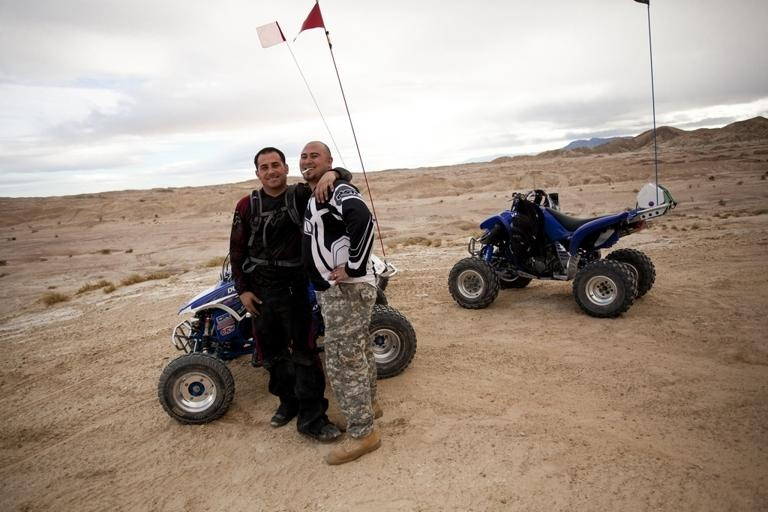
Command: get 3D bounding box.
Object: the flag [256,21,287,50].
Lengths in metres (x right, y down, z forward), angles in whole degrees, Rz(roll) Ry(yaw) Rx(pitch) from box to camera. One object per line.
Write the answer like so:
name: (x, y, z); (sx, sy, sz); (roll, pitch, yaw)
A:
flag: (-1.944, -3.801, 8.182); (0.579, 0.389, 0.281); (3, 17, 43)

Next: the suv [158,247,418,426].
suv: (-1.601, 0.833, 7.561); (3.695, 2.026, 2.400); (-9, 16, -6)

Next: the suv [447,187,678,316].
suv: (3.390, -0.182, 9.124); (3.779, 2.104, 2.330); (5, 14, 41)

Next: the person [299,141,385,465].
person: (-0.424, 0.798, 5.619); (0.923, 3.273, 0.619); (-10, 13, -2)

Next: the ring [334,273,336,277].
ring: (-0.562, 0.216, 5.429); (0.026, 0.030, 0.010); (-6, -5, 10)
